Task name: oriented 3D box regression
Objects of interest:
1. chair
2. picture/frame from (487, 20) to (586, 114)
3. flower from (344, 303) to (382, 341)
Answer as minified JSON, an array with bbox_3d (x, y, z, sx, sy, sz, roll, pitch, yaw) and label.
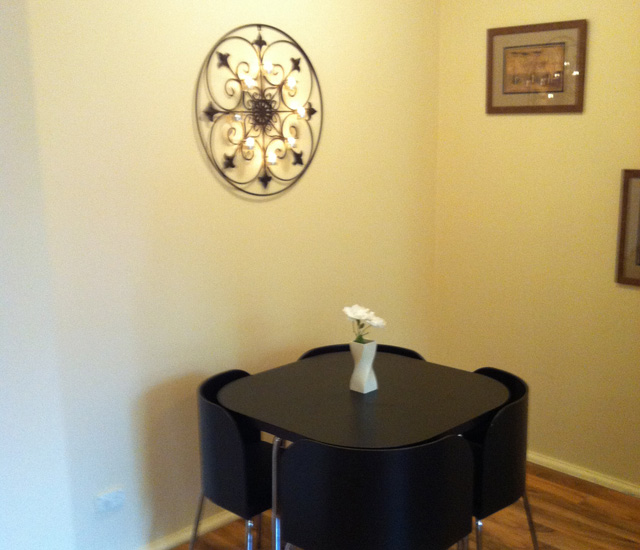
[{"bbox_3d":[0.062,0.606,2.343,0.893,0.658,0.873,11,16,44],"label":"chair"},{"bbox_3d":[1.159,-1.101,3.331,0.460,0.470,0.036,7,12,41],"label":"picture/frame"},{"bbox_3d":[0.177,0.199,2.516,0.160,0.179,0.141,7,7,25],"label":"flower"}]
